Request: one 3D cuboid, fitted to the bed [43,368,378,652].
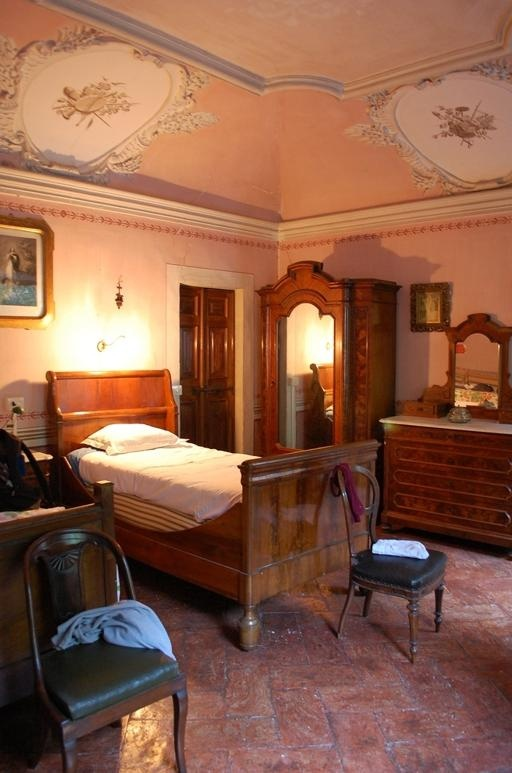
[{"bbox_3d":[-0.315,0.601,4.497,1.496,1.679,2.439,-4,2,-42],"label":"bed"}]

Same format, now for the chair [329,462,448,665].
[{"bbox_3d":[0.773,0.940,3.431,0.630,0.974,1.083,0,1,8],"label":"chair"}]

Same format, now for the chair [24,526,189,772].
[{"bbox_3d":[-0.558,0.989,2.113,0.496,0.843,0.606,-1,1,-34],"label":"chair"}]

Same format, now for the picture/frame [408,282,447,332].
[{"bbox_3d":[1.700,-0.786,5.717,0.476,0.615,0.056,5,7,42],"label":"picture/frame"}]
